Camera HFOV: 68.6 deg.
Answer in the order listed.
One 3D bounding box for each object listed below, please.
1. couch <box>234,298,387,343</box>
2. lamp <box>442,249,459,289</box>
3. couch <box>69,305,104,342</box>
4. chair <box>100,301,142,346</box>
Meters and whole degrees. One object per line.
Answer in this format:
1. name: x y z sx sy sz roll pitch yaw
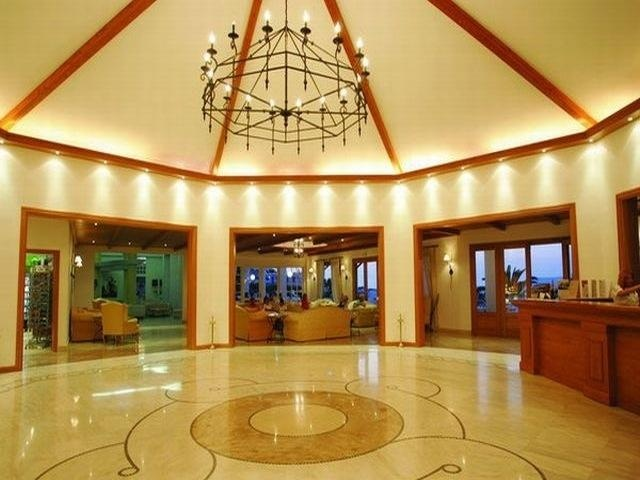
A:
1. couch: 0.126 2.336 13.446 4.950 1.153 2.209 -1 1 -31
2. lamp: 3.838 0.890 13.919 0.151 1.101 0.500 -1 2 -25
3. couch: -6.536 2.309 13.397 0.695 0.886 1.250 0 4 -9
4. chair: -5.299 2.149 12.405 0.794 1.057 0.905 1 -1 -5
